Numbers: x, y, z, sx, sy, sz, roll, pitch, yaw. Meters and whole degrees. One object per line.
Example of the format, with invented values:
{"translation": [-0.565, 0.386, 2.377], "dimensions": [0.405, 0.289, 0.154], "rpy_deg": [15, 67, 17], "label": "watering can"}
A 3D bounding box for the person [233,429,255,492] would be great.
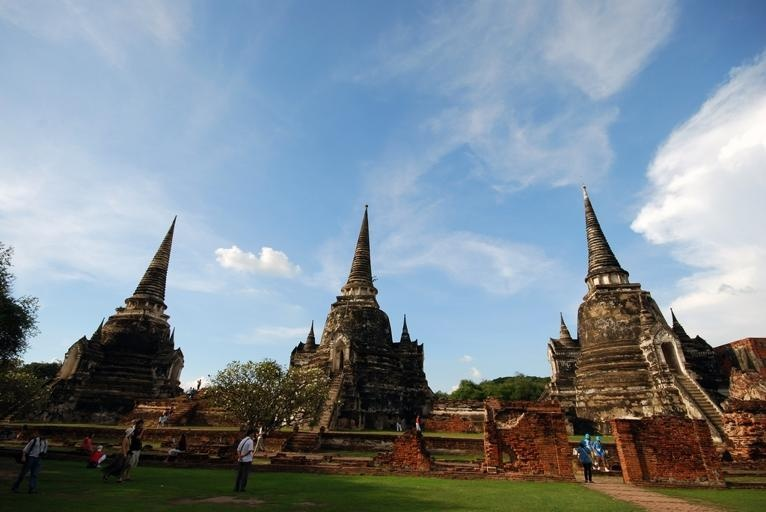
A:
{"translation": [-3.670, 5.352, 9.790], "dimensions": [0.422, 1.316, 2.388], "rpy_deg": [11, -28, -14], "label": "person"}

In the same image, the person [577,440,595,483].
{"translation": [6.538, 6.632, 11.831], "dimensions": [0.328, 1.107, 0.729], "rpy_deg": [-11, -32, 22], "label": "person"}

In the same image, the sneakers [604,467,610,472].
{"translation": [8.233, 7.868, 13.499], "dimensions": [0.161, 0.152, 0.147], "rpy_deg": [-3, 3, -16], "label": "sneakers"}

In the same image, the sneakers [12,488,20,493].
{"translation": [-7.597, 4.876, 7.627], "dimensions": [0.104, 0.050, 0.547], "rpy_deg": [23, -33, -36], "label": "sneakers"}

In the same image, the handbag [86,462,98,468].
{"translation": [-8.856, 6.383, 11.232], "dimensions": [0.231, 0.139, 0.201], "rpy_deg": [-2, -24, -4], "label": "handbag"}
